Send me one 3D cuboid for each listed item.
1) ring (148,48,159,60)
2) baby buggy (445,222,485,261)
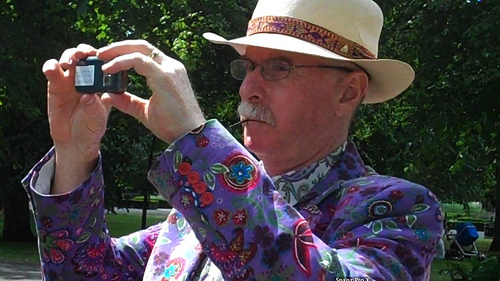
[{"bbox_3d":[-0.815,-0.726,5.485,0.062,0.095,0.026,40,-16,30],"label":"ring"},{"bbox_3d":[5.880,2.689,17.841,0.765,1.070,1.077,7,-3,-17],"label":"baby buggy"}]
